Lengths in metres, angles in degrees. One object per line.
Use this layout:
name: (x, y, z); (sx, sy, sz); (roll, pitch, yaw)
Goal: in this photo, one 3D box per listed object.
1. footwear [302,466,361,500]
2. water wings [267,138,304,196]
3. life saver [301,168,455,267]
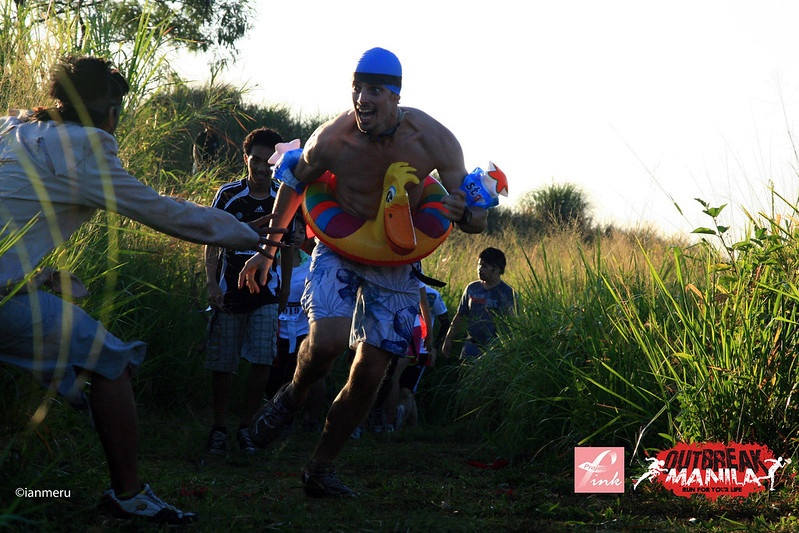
footwear: (-0.420, 1.337, 3.674); (0.362, 0.204, 0.158); (3, 2, 20)
water wings: (-0.861, -0.719, 4.152); (0.125, 0.360, 0.266); (14, -37, -32)
life saver: (-0.178, -0.366, 3.884); (0.637, 0.542, 0.834); (-9, 46, -21)
